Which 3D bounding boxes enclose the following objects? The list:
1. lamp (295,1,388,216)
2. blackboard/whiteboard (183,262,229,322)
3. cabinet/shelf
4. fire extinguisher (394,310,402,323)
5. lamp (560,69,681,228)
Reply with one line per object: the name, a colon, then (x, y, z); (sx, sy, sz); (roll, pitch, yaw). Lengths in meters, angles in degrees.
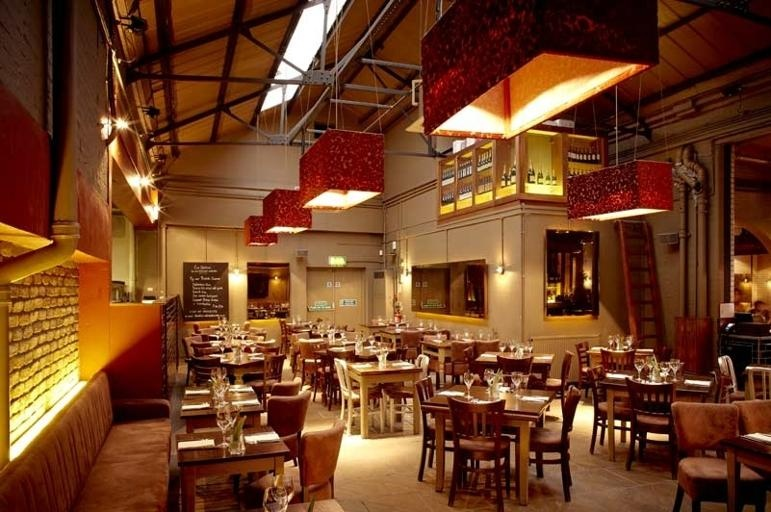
lamp: (-0.669, -1.930, 9.102); (0.973, 1.033, 1.986); (1, -6, -20)
blackboard/whiteboard: (-5.128, 1.044, 16.826); (1.564, 2.159, 0.082); (1, -5, -23)
cabinet/shelf: (3.087, -1.810, 13.001); (1.678, 1.133, 2.554); (1, -3, -29)
fire extinguisher: (0.346, 1.701, 16.543); (0.221, 0.184, 0.231); (0, -8, 0)
lamp: (4.279, -1.867, 10.776); (1.382, 1.437, 2.788); (3, -8, -21)
